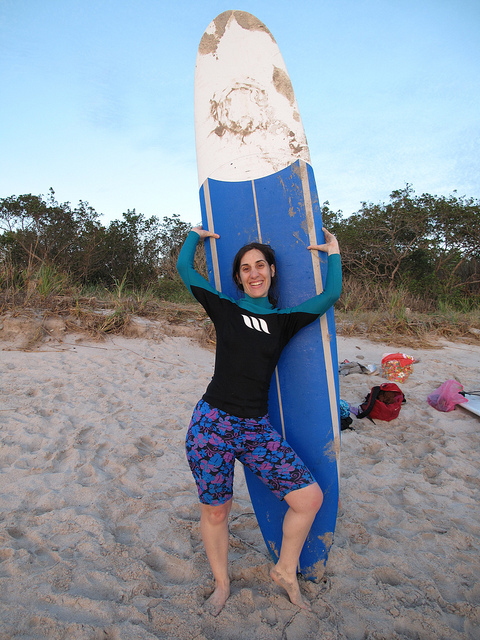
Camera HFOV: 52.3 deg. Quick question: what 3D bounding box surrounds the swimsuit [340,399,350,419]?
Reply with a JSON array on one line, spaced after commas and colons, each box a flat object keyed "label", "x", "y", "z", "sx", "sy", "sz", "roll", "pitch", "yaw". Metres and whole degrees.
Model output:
[{"label": "swimsuit", "x": 0.830, "y": 0.715, "z": 3.904, "sx": 0.094, "sy": 0.129, "sz": 0.118, "roll": 2, "pitch": 31, "yaw": 5}]

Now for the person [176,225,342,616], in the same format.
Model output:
[{"label": "person", "x": 0.064, "y": 0.418, "z": 2.099, "sx": 0.657, "sy": 1.444, "sz": 0.756, "roll": 1, "pitch": 11, "yaw": -17}]

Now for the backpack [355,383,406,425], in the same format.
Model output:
[{"label": "backpack", "x": 1.266, "y": 0.753, "z": 4.207, "sx": 0.313, "sy": 0.430, "sz": 0.451, "roll": 15, "pitch": -12, "yaw": -7}]

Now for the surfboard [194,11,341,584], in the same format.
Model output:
[{"label": "surfboard", "x": 0.148, "y": -0.401, "z": 2.381, "sx": 0.591, "sy": 3.083, "sz": 0.254, "roll": -5, "pitch": -7, "yaw": 23}]

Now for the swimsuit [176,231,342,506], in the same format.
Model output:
[{"label": "swimsuit", "x": 0.016, "y": 0.204, "z": 2.023, "sx": 0.707, "sy": 0.964, "sz": 0.527, "roll": 7, "pitch": 11, "yaw": 11}]

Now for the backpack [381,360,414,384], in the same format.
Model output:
[{"label": "backpack", "x": 1.710, "y": 0.561, "z": 5.294, "sx": 0.227, "sy": 0.189, "sz": 0.256, "roll": 2, "pitch": 0, "yaw": -43}]
